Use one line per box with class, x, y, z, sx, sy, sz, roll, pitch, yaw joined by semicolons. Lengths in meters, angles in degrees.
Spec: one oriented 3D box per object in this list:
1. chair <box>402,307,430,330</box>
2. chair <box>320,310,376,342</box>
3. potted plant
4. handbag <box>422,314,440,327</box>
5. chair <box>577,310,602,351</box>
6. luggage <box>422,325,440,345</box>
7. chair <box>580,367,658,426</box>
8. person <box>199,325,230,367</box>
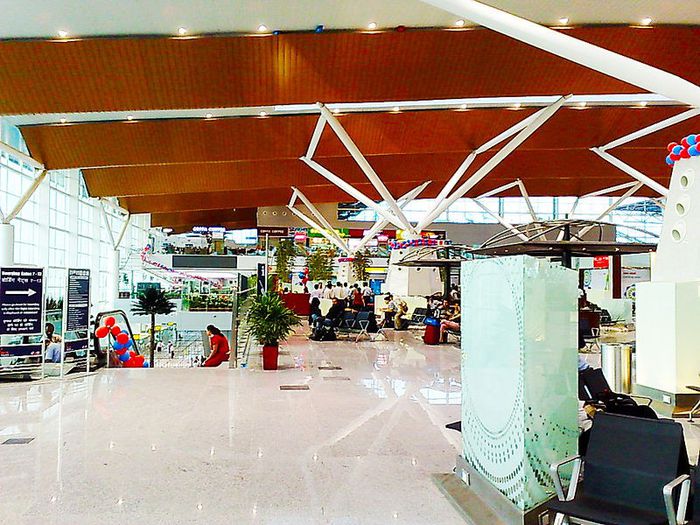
chair;2.907;2.396;22.072;0.899;0.933;1.803;-5;-8;-9
chair;0.121;2.310;18.999;2.250;1.015;0.939;-6;-8;34
potted plant;-2.207;1.644;13.082;1.672;2.076;1.759;0;1;1
handbag;2.876;2.019;17.707;0.422;0.331;0.287;-4;-7;38
chair;7.484;2.258;15.863;0.586;0.824;0.829;0;5;-36
luggage;2.865;2.505;17.845;0.615;0.635;0.613;-1;-4;21
chair;3.030;1.598;5.762;0.562;0.404;0.934;-14;8;-20
person;-3.640;2.205;13.802;0.617;1.108;1.240;0;-1;-12
